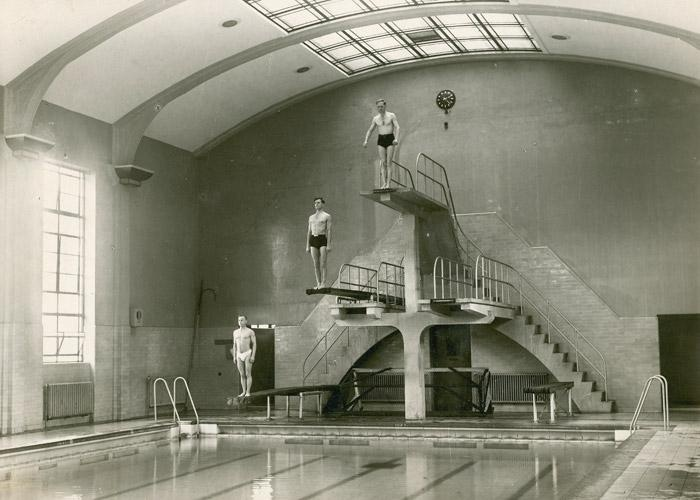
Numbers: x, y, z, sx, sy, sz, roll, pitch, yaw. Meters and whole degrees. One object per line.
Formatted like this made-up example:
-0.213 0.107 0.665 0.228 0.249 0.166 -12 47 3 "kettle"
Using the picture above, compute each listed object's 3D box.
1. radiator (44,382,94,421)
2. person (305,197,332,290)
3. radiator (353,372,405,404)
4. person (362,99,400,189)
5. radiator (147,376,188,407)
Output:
-8.052 4.283 26.974 0.123 0.756 1.200 -6 -9 30 "radiator"
-0.858 -0.198 25.786 0.641 2.572 0.924 -3 -9 -2 "person"
1.085 4.335 29.955 1.497 0.901 0.895 3 5 -29 "radiator"
0.849 -2.796 25.619 0.870 2.601 1.343 -4 -9 1 "person"
-5.884 4.554 30.689 0.468 0.987 2.153 -6 -10 14 "radiator"
